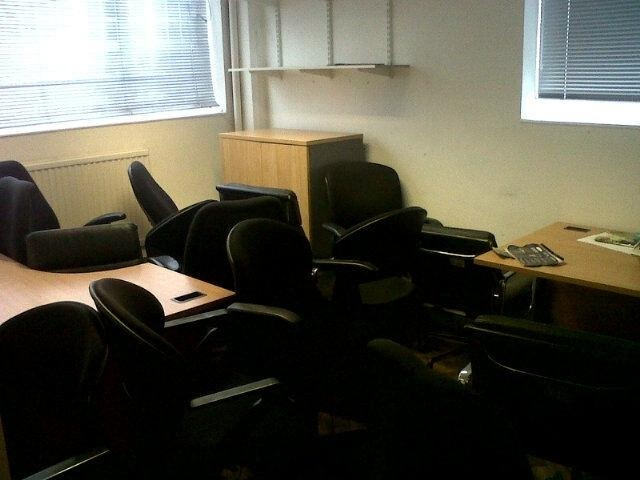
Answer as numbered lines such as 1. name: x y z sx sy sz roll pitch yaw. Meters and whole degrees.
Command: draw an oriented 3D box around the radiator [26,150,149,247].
1. radiator: -1.672 -0.309 3.535 0.687 0.574 0.046 -21 30 -31
